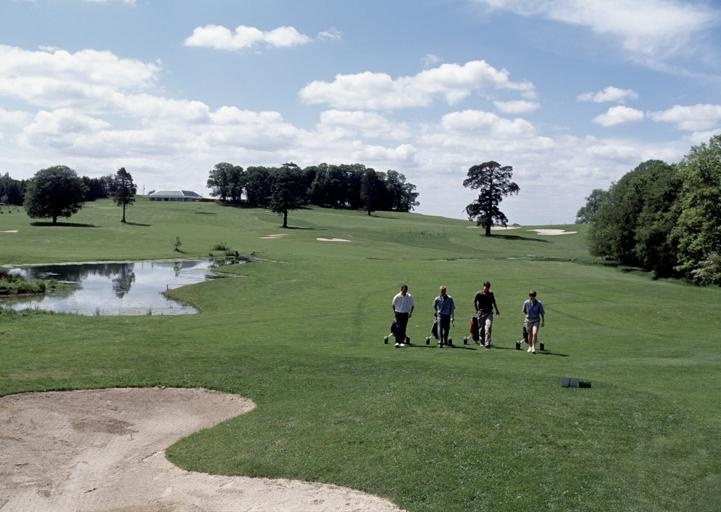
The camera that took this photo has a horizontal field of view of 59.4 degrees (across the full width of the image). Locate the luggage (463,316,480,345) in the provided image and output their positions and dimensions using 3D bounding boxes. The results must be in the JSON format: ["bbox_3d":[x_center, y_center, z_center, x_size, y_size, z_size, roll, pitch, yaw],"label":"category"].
[{"bbox_3d":[5.595,3.551,30.474,0.581,1.183,1.035,9,2,-14],"label":"luggage"}]

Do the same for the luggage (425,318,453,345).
[{"bbox_3d":[3.775,3.836,30.678,0.862,0.913,1.714,1,-6,2],"label":"luggage"}]
